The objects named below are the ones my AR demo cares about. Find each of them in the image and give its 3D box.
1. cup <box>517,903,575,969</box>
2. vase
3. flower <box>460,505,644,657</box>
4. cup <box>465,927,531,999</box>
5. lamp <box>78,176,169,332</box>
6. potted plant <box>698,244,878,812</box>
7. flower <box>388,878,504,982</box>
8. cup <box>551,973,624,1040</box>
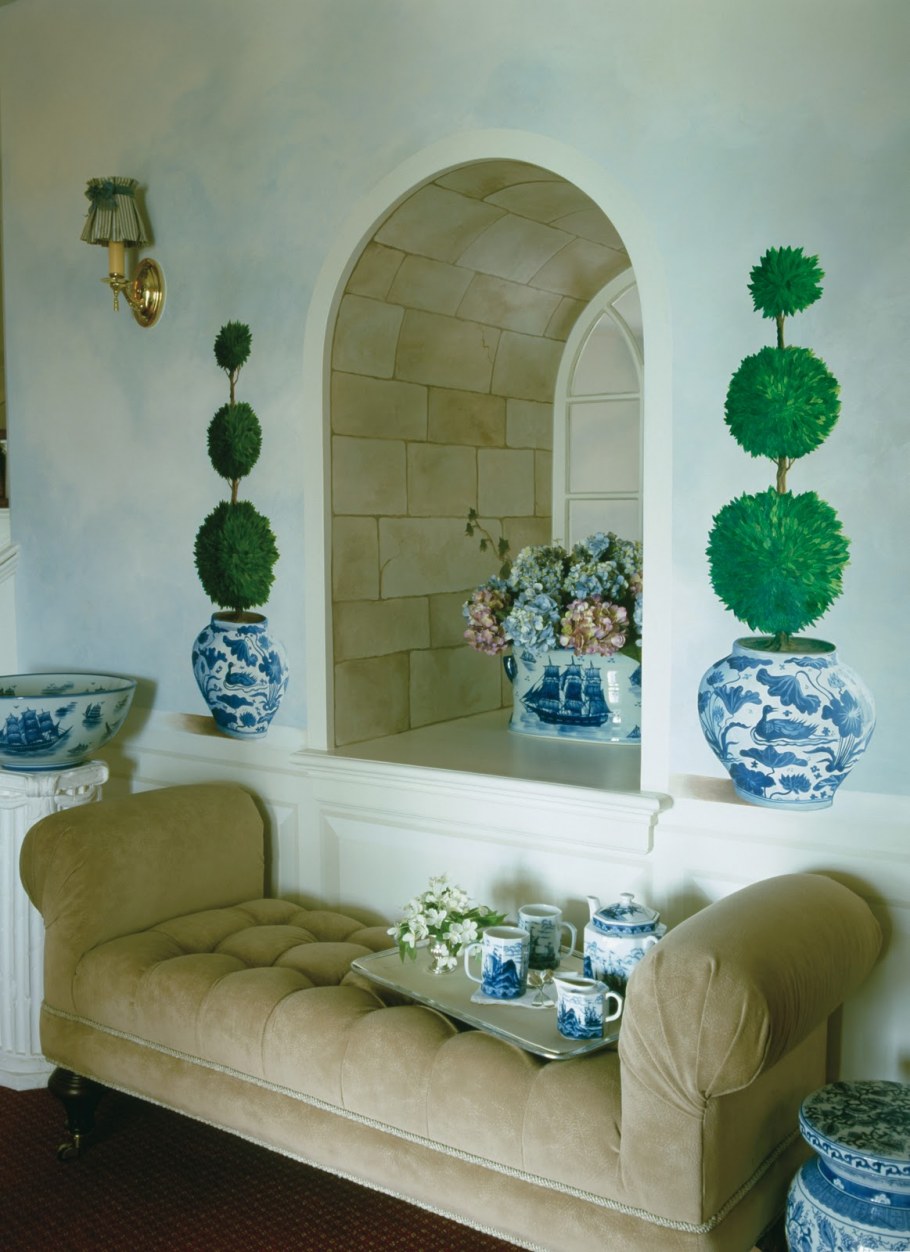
[{"bbox_3d":[0.191,0.605,2.323,0.149,0.124,0.091,1,3,27],"label":"cup"},{"bbox_3d":[0.352,0.175,3.097,0.357,0.210,0.193,2,4,37],"label":"vase"},{"bbox_3d":[0.210,-0.098,3.074,0.308,0.418,0.636,-2,5,-40],"label":"flower"},{"bbox_3d":[0.088,0.619,2.189,0.140,0.106,0.083,-1,4,-7],"label":"cup"},{"bbox_3d":[-0.912,-1.009,3.171,0.189,0.387,0.174,-2,6,-41],"label":"lamp"},{"bbox_3d":[0.586,-0.173,2.107,0.116,1.008,0.317,-3,6,-44],"label":"potted plant"},{"bbox_3d":[-0.020,0.565,2.290,0.194,0.152,0.191,-12,8,36],"label":"flower"},{"bbox_3d":[0.223,0.645,2.018,0.136,0.085,0.078,1,2,37],"label":"cup"}]
